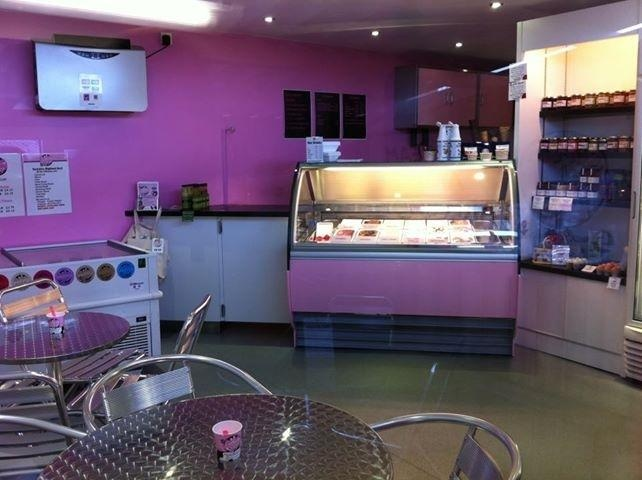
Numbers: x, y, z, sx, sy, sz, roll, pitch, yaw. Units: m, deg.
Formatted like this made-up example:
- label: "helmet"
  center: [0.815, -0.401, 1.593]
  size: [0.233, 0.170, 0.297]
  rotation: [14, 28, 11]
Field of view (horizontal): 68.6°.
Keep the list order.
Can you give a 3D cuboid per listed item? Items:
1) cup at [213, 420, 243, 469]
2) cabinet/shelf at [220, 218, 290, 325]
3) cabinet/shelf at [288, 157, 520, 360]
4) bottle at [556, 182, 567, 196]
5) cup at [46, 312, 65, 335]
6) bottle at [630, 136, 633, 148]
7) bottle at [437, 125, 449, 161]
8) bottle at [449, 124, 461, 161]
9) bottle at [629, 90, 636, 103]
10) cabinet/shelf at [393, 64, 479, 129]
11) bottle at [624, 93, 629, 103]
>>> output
- label: "cup"
  center: [-0.310, 0.669, 1.577]
  size: [0.116, 0.125, 0.115]
  rotation: [-1, 1, 0]
- label: "cabinet/shelf"
  center: [-0.788, 0.360, 4.843]
  size: [0.870, 1.100, 0.741]
  rotation: [1, -21, -15]
- label: "cabinet/shelf"
  center: [0.739, 0.194, 3.966]
  size: [1.659, 1.424, 0.701]
  rotation: [1, 4, 7]
- label: "bottle"
  center: [2.105, -0.444, 4.109]
  size: [0.072, 0.143, 0.100]
  rotation: [6, -8, -4]
- label: "cup"
  center: [-1.416, 0.449, 2.516]
  size: [0.098, 0.112, 0.113]
  rotation: [1, -5, -22]
- label: "bottle"
  center: [2.466, -0.781, 3.738]
  size: [0.016, 0.078, 0.073]
  rotation: [5, 13, 25]
- label: "bottle"
  center: [1.083, -0.871, 4.155]
  size: [0.097, 0.300, 0.129]
  rotation: [3, 12, 18]
- label: "bottle"
  center: [1.189, -0.880, 4.165]
  size: [0.089, 0.313, 0.320]
  rotation: [2, 12, 13]
- label: "bottle"
  center: [2.488, -1.152, 3.759]
  size: [0.037, 0.103, 0.094]
  rotation: [2, 12, 13]
- label: "cabinet/shelf"
  center: [1.551, -1.867, 6.272]
  size: [1.202, 0.747, 0.374]
  rotation: [-9, 14, -35]
- label: "bottle"
  center: [2.471, -1.151, 3.795]
  size: [0.007, 0.075, 0.037]
  rotation: [-5, 12, -19]
